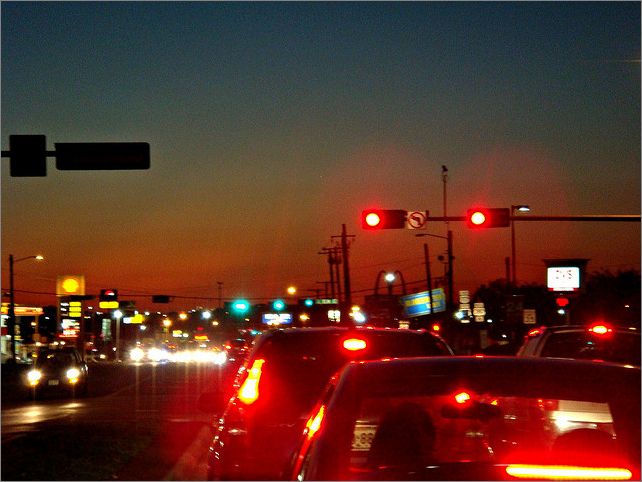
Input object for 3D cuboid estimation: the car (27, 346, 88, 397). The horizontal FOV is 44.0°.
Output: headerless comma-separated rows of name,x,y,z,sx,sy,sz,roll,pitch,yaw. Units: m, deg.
car,-10.235,5.114,30.629,1.932,1.862,1.999,0,-10,-11
